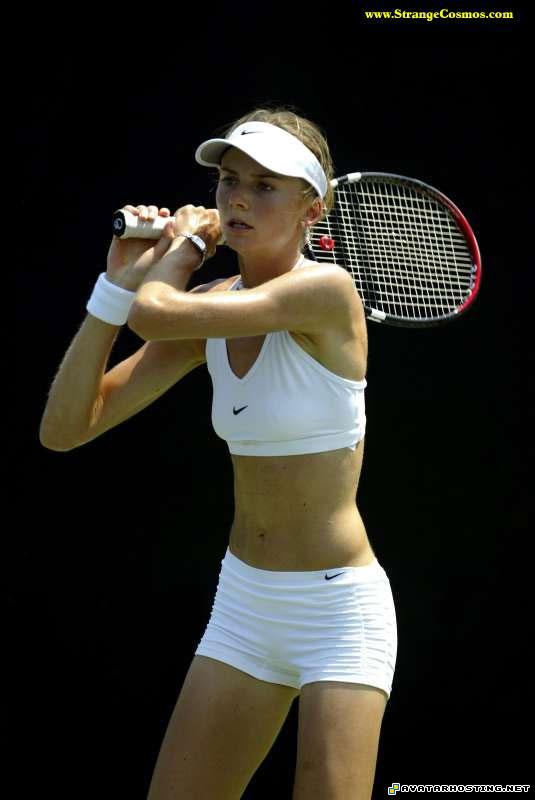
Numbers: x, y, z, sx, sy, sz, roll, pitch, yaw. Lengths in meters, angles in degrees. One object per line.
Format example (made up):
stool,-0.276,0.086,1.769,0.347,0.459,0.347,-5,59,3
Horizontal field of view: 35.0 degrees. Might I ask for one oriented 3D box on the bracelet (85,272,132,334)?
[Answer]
bracelet,-0.347,-0.216,1.960,0.103,0.105,0.126,26,-3,-3
